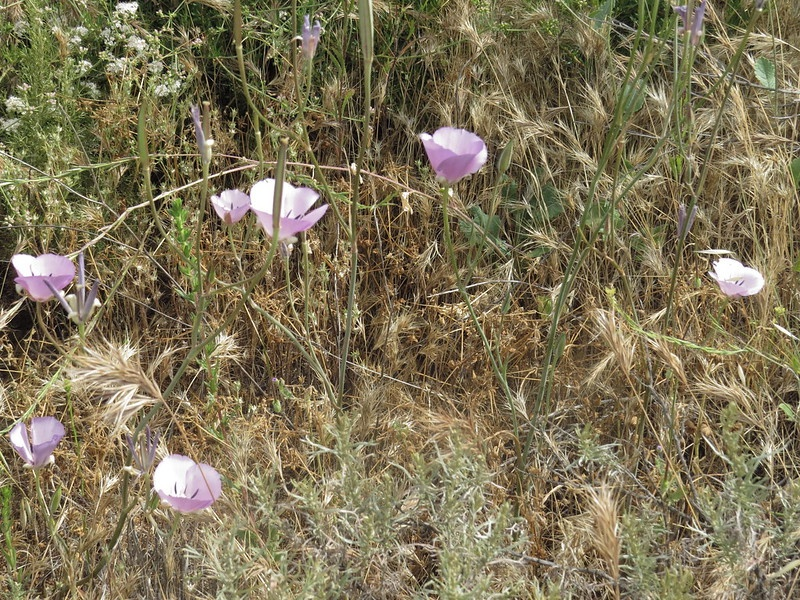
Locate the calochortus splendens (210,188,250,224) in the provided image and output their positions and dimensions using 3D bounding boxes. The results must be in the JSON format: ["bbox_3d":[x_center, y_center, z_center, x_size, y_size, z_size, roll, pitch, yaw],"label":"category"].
[{"bbox_3d":[-0.475,-0.267,2.167,0.096,0.068,0.117,-10,55,-18],"label":"calochortus splendens"}]

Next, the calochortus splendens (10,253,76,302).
[{"bbox_3d":[-0.973,-0.061,2.126,0.148,0.124,0.153,27,29,28],"label":"calochortus splendens"}]

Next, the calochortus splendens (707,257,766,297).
[{"bbox_3d":[1.110,-0.071,2.521,0.133,0.083,0.158,-3,43,16],"label":"calochortus splendens"}]

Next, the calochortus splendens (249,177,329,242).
[{"bbox_3d":[-0.313,-0.258,2.209,0.168,0.206,0.104,-17,91,-15],"label":"calochortus splendens"}]

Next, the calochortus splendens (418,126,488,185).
[{"bbox_3d":[0.151,-0.388,2.170,0.168,0.209,0.140,12,92,8],"label":"calochortus splendens"}]

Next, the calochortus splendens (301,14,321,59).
[{"bbox_3d":[-0.248,-0.722,2.075,0.046,0.129,0.051,-15,33,-23],"label":"calochortus splendens"}]
